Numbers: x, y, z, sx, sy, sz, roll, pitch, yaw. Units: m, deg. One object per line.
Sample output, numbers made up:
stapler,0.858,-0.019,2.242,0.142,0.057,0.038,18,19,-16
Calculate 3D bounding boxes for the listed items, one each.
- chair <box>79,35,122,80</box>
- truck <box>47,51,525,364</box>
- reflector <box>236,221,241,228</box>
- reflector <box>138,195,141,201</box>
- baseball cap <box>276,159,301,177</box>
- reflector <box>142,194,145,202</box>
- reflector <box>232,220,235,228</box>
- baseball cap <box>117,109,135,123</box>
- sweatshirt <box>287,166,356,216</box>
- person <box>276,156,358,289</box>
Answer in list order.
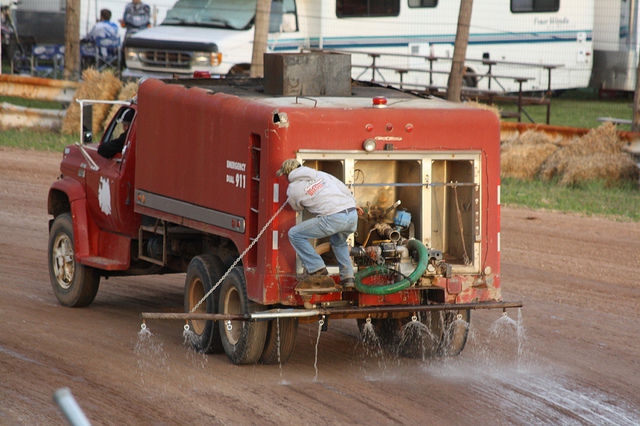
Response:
chair,-7.335,-5.195,31.777,0.777,1.709,0.933,-3,6,-9
truck,-1.122,0.145,14.368,3.667,4.410,6.916,-2,14,-35
reflector,-1.103,0.154,12.583,0.014,0.069,0.060,-1,27,-41
reflector,-2.755,-0.226,14.100,0.046,0.116,0.052,1,-3,-18
baseball cap,-0.420,-0.639,12.144,0.230,0.143,0.192,-31,-3,13
reflector,-2.679,-0.222,14.036,0.016,0.080,0.045,6,1,-41
reflector,-1.180,0.148,12.667,0.016,0.079,0.052,1,4,-32
baseball cap,-3.072,-1.518,14.603,0.256,0.189,0.168,6,3,32
sweatshirt,-0.014,-0.252,12.142,0.564,0.426,0.770,-27,50,-32
person,0.019,0.100,12.560,0.866,1.945,1.001,-8,0,20
